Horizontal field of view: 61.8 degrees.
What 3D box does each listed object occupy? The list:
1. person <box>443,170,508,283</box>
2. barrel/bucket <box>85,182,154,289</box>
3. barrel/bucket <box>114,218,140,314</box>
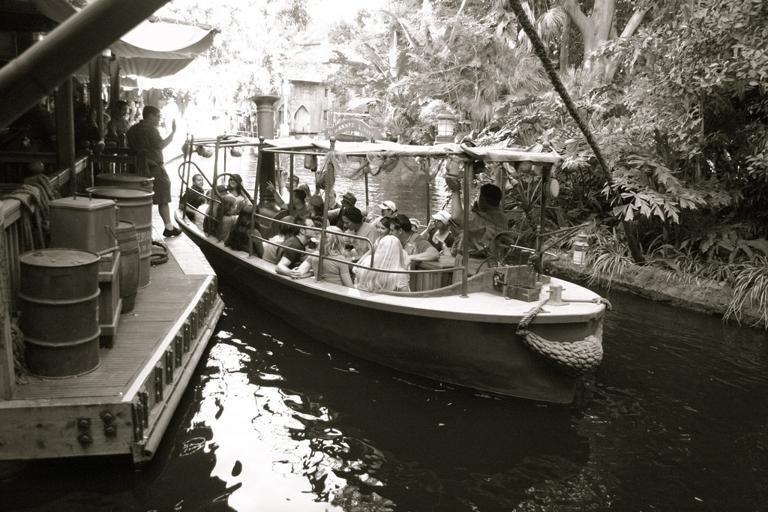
[{"bbox_3d":[1.423,-0.386,10.120,1.011,1.990,1.008,12,35,5],"label":"person"},{"bbox_3d":[-3.635,-0.242,8.833,0.975,1.486,1.010,9,21,-4],"label":"barrel/bucket"},{"bbox_3d":[-3.613,0.209,9.057,0.133,1.267,0.389,7,12,17],"label":"barrel/bucket"}]
